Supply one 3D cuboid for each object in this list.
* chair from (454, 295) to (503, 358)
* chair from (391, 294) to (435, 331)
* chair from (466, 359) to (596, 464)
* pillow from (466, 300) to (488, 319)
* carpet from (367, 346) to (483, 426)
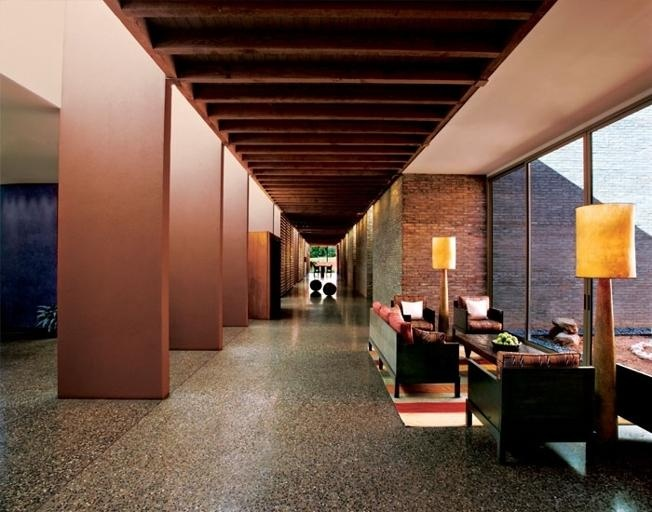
[{"bbox_3d":[2.578,1.114,7.800,0.766,0.792,0.800,1,2,11],"label":"chair"},{"bbox_3d":[1.496,0.994,7.757,0.687,0.511,0.591,-3,14,-40],"label":"chair"},{"bbox_3d":[1.908,1.399,4.317,0.774,0.624,1.004,0,-7,2],"label":"chair"},{"bbox_3d":[2.545,0.896,7.729,0.299,0.256,0.103,2,-34,-3],"label":"pillow"},{"bbox_3d":[1.238,1.623,5.387,1.138,0.175,1.581,1,11,2],"label":"carpet"}]
